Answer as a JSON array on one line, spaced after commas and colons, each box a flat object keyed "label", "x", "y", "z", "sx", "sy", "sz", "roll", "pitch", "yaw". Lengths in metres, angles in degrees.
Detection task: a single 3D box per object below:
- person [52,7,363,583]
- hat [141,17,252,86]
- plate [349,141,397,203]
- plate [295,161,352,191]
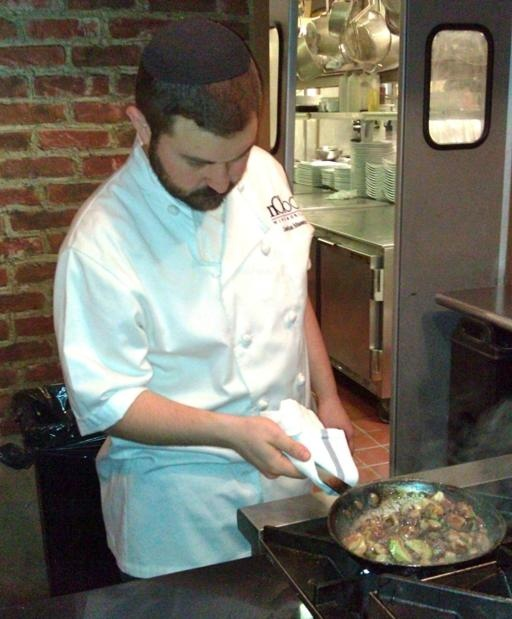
[{"label": "person", "x": -0.073, "y": 0.007, "z": 1.084, "sx": 0.476, "sy": 0.929, "sz": 0.542, "roll": 3, "pitch": 15, "yaw": 14}, {"label": "hat", "x": -0.082, "y": -0.351, "z": 0.795, "sx": 0.125, "sy": 0.039, "sz": 0.111, "roll": -8, "pitch": 35, "yaw": -6}, {"label": "plate", "x": 0.821, "y": -1.016, "z": 4.195, "sx": 0.379, "sy": 0.416, "sz": 0.365, "roll": 2, "pitch": 22, "yaw": 15}, {"label": "plate", "x": 0.547, "y": -1.106, "z": 4.775, "sx": 0.434, "sy": 0.115, "sz": 0.311, "roll": -14, "pitch": 22, "yaw": -42}]
